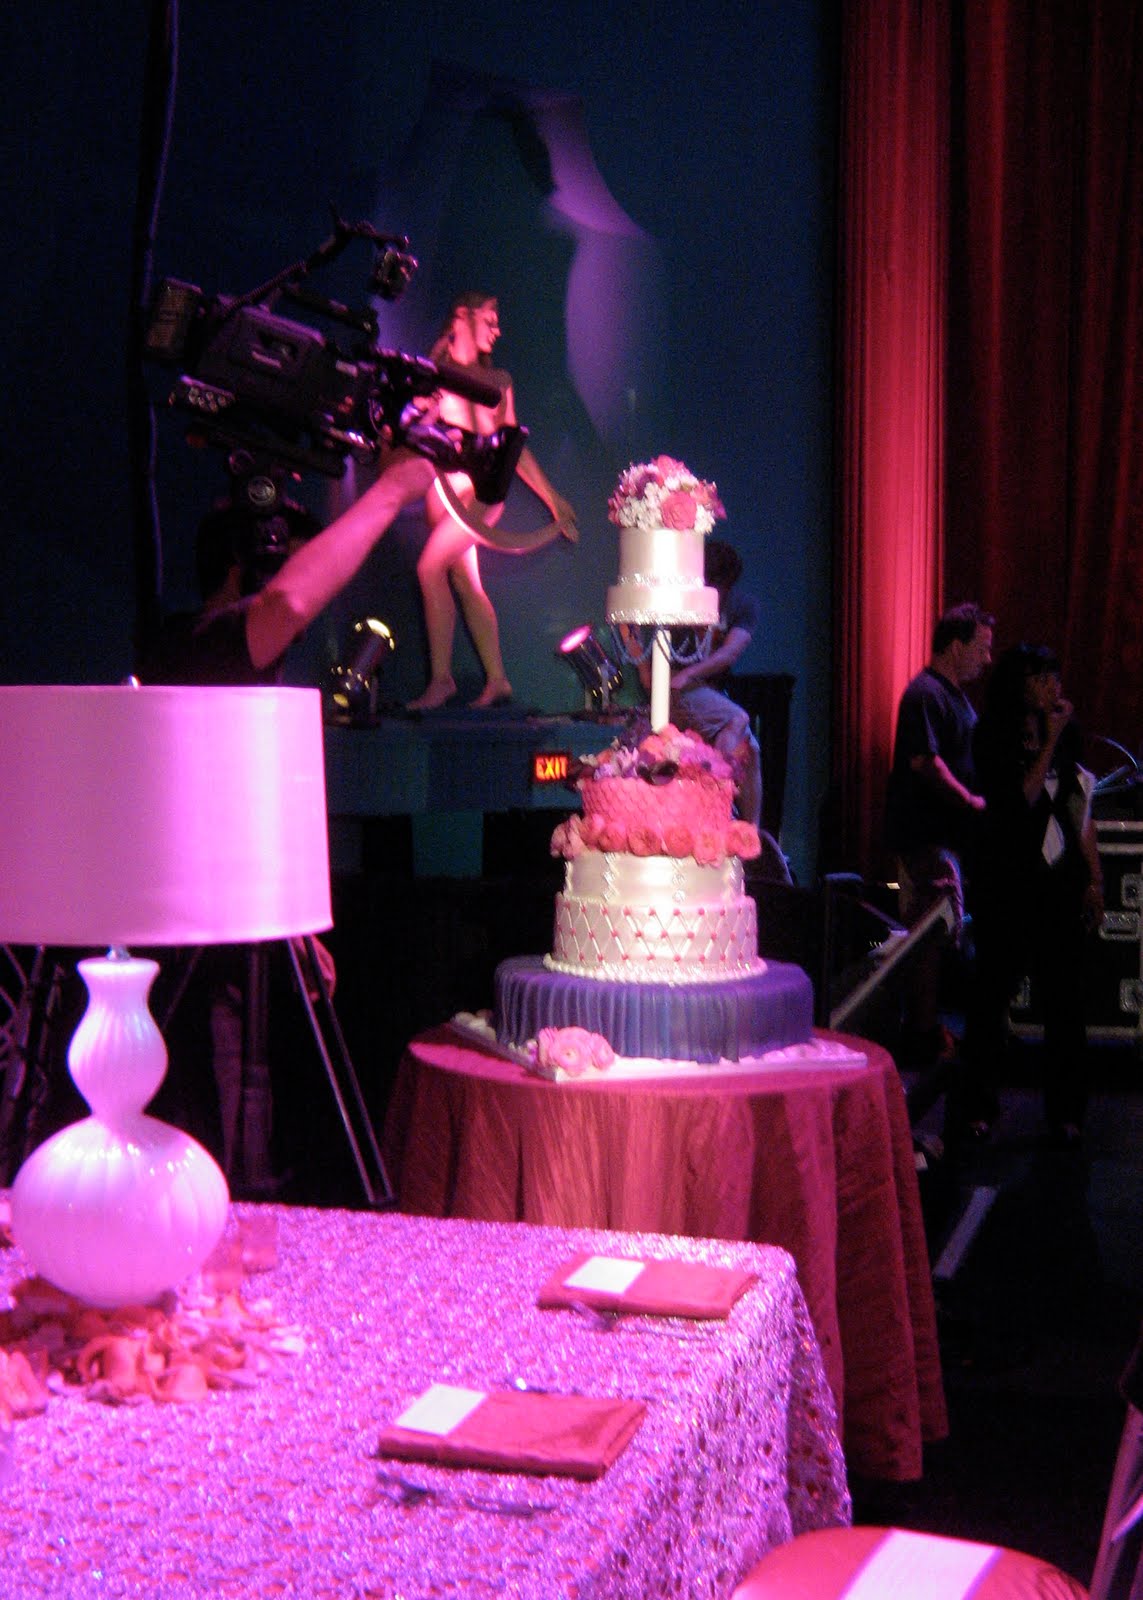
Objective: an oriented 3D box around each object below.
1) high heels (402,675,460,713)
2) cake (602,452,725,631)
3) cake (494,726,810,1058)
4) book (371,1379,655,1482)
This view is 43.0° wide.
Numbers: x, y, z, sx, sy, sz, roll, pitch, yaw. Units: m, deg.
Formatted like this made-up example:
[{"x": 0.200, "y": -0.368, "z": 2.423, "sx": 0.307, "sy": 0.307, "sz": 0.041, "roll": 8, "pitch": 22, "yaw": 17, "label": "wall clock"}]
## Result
[{"x": -0.495, "y": -0.365, "z": 5.128, "sx": 0.067, "sy": 0.115, "sz": 0.236, "roll": 19, "pitch": 8, "yaw": 19, "label": "high heels"}, {"x": 0.150, "y": -0.461, "z": 2.738, "sx": 0.234, "sy": 0.378, "sz": 0.258, "roll": 0, "pitch": -2, "yaw": -6, "label": "cake"}, {"x": 0.132, "y": 0.152, "z": 2.532, "sx": 0.472, "sy": 0.581, "sz": 0.470, "roll": -3, "pitch": 1, "yaw": -39, "label": "cake"}, {"x": -0.037, "y": 0.404, "z": 0.934, "sx": 0.164, "sy": 0.022, "sz": 0.115, "roll": 5, "pitch": 1, "yaw": 5, "label": "book"}]
